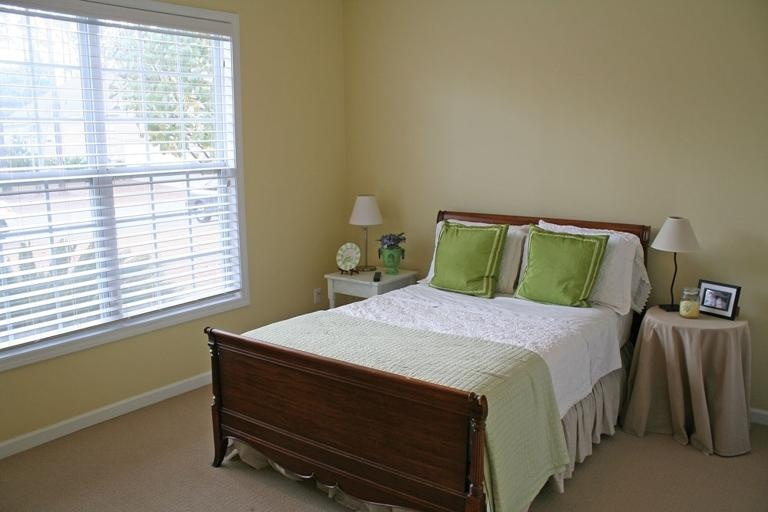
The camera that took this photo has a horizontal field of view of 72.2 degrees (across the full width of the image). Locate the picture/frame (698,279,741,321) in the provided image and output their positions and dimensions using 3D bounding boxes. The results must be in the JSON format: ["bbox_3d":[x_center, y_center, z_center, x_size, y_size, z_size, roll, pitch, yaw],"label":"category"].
[{"bbox_3d":[2.430,0.330,3.875,0.239,0.238,0.017,21,14,41],"label":"picture/frame"}]

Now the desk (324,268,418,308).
[{"bbox_3d":[-0.164,0.254,5.140,0.511,0.487,0.513,11,16,41],"label":"desk"}]

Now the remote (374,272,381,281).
[{"bbox_3d":[-0.070,0.191,4.970,0.062,0.037,0.177,1,14,10],"label":"remote"}]

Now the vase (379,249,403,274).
[{"bbox_3d":[0.047,0.047,5.206,0.246,0.268,0.243,-1,1,-8],"label":"vase"}]

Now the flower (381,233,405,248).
[{"bbox_3d":[0.087,-0.149,5.167,0.174,0.098,0.174,-2,-2,21],"label":"flower"}]

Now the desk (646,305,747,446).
[{"bbox_3d":[2.243,0.833,4.156,0.816,0.984,0.804,0,13,16],"label":"desk"}]
